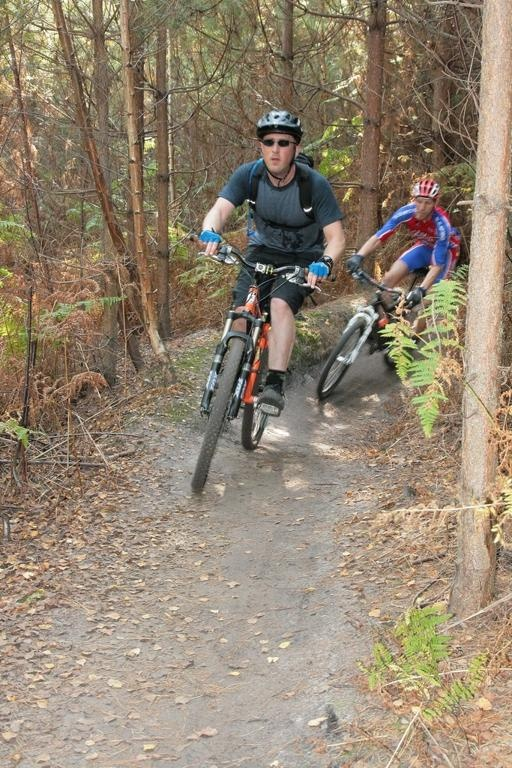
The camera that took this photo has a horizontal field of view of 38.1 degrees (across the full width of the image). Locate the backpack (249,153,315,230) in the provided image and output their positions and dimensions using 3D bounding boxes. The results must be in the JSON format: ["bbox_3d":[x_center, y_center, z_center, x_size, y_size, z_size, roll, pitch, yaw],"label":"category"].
[{"bbox_3d":[0.194,-1.420,5.645,0.542,0.608,0.452,3,15,-3],"label":"backpack"}]

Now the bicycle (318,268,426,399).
[{"bbox_3d":[0.981,-0.584,7.363,0.767,0.960,1.700,34,25,19],"label":"bicycle"}]

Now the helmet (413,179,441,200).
[{"bbox_3d":[1.614,-1.829,6.930,0.176,0.088,0.247,9,34,11],"label":"helmet"}]

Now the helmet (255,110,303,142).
[{"bbox_3d":[0.166,-1.847,5.298,0.309,0.239,0.231,-7,13,-1],"label":"helmet"}]

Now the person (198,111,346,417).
[{"bbox_3d":[0.189,-0.979,5.737,1.072,2.147,1.479,11,25,16],"label":"person"}]

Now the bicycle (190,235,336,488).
[{"bbox_3d":[-0.057,-0.191,5.432,0.822,1.701,1.214,-2,14,20],"label":"bicycle"}]
